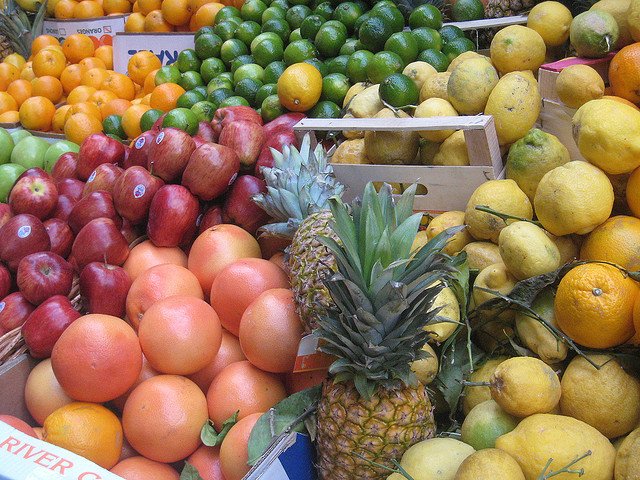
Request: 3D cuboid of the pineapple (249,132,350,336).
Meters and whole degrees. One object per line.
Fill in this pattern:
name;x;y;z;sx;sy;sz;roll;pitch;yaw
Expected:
pineapple;-0.051;0.038;2.712;0.392;0.333;0.850;22;41;-41

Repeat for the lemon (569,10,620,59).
lemon;1.436;-1.072;3.072;0.246;0.215;0.204;15;45;27

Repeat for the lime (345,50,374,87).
lime;0.277;-1.158;3.931;0.199;0.229;0.262;6;32;19

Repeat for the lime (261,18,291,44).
lime;-0.320;-1.630;4.608;0.179;0.237;0.191;6;39;19

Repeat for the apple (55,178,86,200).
apple;-1.446;-0.305;3.376;0.114;0.133;0.120;-21;23;-19

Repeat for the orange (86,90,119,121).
orange;-1.769;-1.128;4.745;0.210;0.201;0.207;-2;65;-6

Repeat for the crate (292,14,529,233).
crate;0.568;-0.513;3.014;0.728;0.506;0.821;3;49;27

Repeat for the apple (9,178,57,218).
apple;-1.532;-0.248;3.193;0.194;0.234;0.235;-2;9;1

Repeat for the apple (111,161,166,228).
apple;-1.010;-0.231;3.260;0.275;0.286;0.348;16;74;-8

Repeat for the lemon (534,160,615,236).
lemon;1.133;-0.191;2.611;0.306;0.330;0.300;-24;6;10

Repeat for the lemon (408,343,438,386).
lemon;0.432;0.514;2.518;0.117;0.135;0.177;5;47;2

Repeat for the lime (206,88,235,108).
lime;-0.700;-1.013;4.108;0.167;0.156;0.144;-22;-1;-14

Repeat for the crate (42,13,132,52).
crate;-2.398;-2.207;6.137;0.889;0.363;0.751;-9;35;-15

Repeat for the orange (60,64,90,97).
orange;-2.273;-1.473;5.329;0.212;0.233;0.220;4;22;-33

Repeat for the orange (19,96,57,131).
orange;-2.331;-1.034;4.898;0.264;0.279;0.304;22;24;34

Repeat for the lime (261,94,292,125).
lime;-0.318;-0.845;3.859;0.136;0.144;0.183;-13;74;-26

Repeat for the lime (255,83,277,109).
lime;-0.380;-0.959;3.963;0.132;0.185;0.142;11;14;18

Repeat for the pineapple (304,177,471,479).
pineapple;0.239;0.370;2.287;0.552;1.019;0.727;4;40;16

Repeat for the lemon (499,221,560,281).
lemon;0.895;0.035;2.601;0.265;0.194;0.206;47;26;-1

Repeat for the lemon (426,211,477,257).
lemon;0.619;-0.047;2.872;0.241;0.202;0.221;-16;70;2

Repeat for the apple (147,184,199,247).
apple;-0.793;-0.126;3.154;0.309;0.269;0.188;-28;42;-22

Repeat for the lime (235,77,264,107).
lime;-0.502;-1.041;4.073;0.171;0.194;0.231;-14;43;2

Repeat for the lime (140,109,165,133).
lime;-1.139;-0.796;3.994;0.151;0.163;0.161;-4;36;-32

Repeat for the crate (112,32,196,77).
crate;-1.589;-1.781;5.422;0.479;0.333;0.740;-2;13;-1

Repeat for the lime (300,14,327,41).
lime;-0.065;-1.577;4.436;0.173;0.225;0.173;-27;46;-34

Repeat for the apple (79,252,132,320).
apple;-1.069;0.224;2.932;0.191;0.244;0.202;15;16;39

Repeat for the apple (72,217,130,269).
apple;-1.137;0.011;3.137;0.242;0.244;0.262;38;81;-3

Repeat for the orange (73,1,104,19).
orange;-2.344;-2.297;5.891;0.140;0.155;0.183;4;45;22

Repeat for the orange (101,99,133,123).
orange;-1.604;-1.028;4.645;0.225;0.201;0.214;-1;61;-27

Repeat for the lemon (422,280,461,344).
lemon;0.537;0.306;2.562;0.216;0.264;0.292;5;-3;15

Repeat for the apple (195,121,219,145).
apple;-0.710;-0.668;3.654;0.141;0.160;0.146;15;9;-19

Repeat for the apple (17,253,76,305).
apple;-1.344;0.181;2.984;0.235;0.248;0.263;-21;82;-12

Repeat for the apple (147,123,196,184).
apple;-0.822;-0.461;3.225;0.196;0.209;0.341;21;75;12

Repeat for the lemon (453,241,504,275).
lemon;0.743;0.062;2.713;0.162;0.144;0.125;3;19;43

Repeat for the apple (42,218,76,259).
apple;-1.385;-0.022;3.115;0.182;0.250;0.188;-11;-2;-26

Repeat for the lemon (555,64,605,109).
lemon;1.257;-0.738;2.886;0.173;0.204;0.240;6;13;-14

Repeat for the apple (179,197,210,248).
apple;-0.686;-0.092;3.153;0.157;0.180;0.196;-9;-21;37

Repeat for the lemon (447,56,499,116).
lemon;0.825;-0.825;3.218;0.247;0.335;0.254;6;-1;41

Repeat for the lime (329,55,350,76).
lime;0.119;-1.206;4.066;0.129;0.175;0.140;-11;38;-15

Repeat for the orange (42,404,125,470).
orange;-0.949;0.768;2.359;0.287;0.243;0.266;2;59;-35

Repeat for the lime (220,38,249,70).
lime;-0.659;-1.447;4.583;0.169;0.233;0.181;12;28;27

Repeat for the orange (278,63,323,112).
orange;-0.124;-0.941;3.685;0.217;0.242;0.306;-15;22;38

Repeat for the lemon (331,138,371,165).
lemon;0.177;-0.501;3.377;0.203;0.156;0.125;-29;24;-23

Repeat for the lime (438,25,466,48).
lime;0.882;-1.404;4.005;0.149;0.206;0.161;17;28;20

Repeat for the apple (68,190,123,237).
apple;-1.216;-0.172;3.176;0.254;0.251;0.231;-34;18;-28

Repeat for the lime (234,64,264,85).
lime;-0.507;-1.201;4.247;0.155;0.181;0.194;1;6;-22

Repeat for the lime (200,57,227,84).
lime;-0.833;-1.308;4.501;0.163;0.214;0.192;-3;67;-8

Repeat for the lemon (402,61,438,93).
lemon;0.589;-0.955;3.473;0.141;0.137;0.171;35;47;-8

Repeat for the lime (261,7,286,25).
lime;-0.367;-1.778;4.638;0.121;0.160;0.139;9;61;22

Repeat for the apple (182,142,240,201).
apple;-0.604;-0.375;3.240;0.253;0.319;0.251;17;4;41

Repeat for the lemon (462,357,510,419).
lemon;0.720;0.619;2.579;0.209;0.294;0.226;4;6;23

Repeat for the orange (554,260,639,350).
orange;1.127;0.258;2.489;0.304;0.345;0.318;9;35;7

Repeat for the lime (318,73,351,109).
lime;0.071;-1.001;3.974;0.193;0.263;0.202;2;22;-29

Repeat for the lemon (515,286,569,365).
lemon;0.934;0.350;2.518;0.171;0.212;0.297;0;61;-52

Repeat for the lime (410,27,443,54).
lime;0.690;-1.289;3.830;0.172;0.151;0.145;9;28;-50

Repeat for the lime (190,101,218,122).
lime;-0.788;-0.861;3.968;0.151;0.180;0.197;-1;9;5

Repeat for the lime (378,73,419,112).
lime;0.432;-0.815;3.414;0.188;0.261;0.200;8;13;-18
